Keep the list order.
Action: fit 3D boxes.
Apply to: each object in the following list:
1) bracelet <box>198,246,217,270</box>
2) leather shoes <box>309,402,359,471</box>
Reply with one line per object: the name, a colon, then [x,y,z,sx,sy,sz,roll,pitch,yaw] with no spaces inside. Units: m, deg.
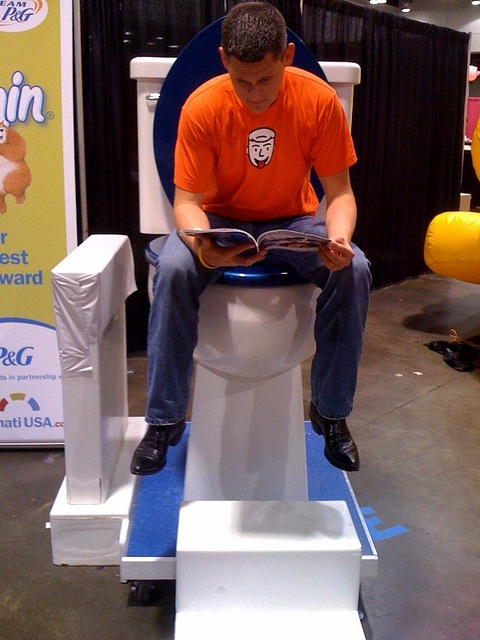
bracelet: [-0.050,-0.093,0.835,0.023,0.031,0.011,-11,-2,-17]
leather shoes: [0.158,0.207,0.945,0.071,0.111,0.122,1,14,2]
